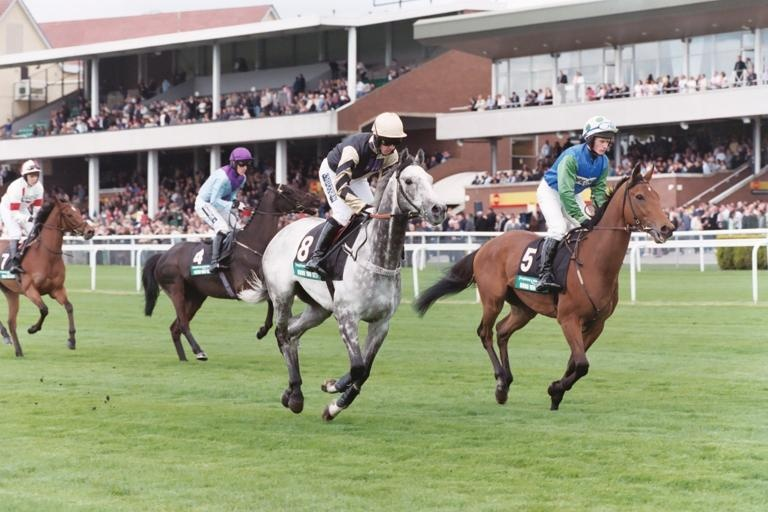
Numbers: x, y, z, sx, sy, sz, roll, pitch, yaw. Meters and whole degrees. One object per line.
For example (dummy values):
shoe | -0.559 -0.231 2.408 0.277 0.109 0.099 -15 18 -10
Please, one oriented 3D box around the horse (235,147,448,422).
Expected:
horse | -0.451 0.322 16.295 2.192 3.105 0.925 1 3 39

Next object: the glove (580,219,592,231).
glove | 2.423 -0.385 16.647 0.093 0.128 0.061 49 14 25

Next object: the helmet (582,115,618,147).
helmet | 2.616 -1.518 16.833 0.385 0.328 0.447 0 7 -44

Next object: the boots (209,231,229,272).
boots | -2.227 -0.076 18.678 0.239 0.526 0.261 -1 2 -5

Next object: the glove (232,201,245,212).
glove | -1.993 -0.693 18.978 0.160 0.138 0.039 24 11 37

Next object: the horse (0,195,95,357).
horse | -4.645 0.224 19.087 1.276 2.022 0.844 -1 2 -11

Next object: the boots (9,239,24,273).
boots | -5.084 -0.012 19.149 0.177 0.445 0.407 -2 2 -15

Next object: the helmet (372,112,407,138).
helmet | 0.063 -1.519 16.133 0.297 0.175 0.355 -3 12 -32

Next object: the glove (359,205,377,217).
glove | -0.180 -0.520 16.264 0.183 0.069 0.127 22 24 16

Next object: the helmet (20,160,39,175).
helmet | -4.952 -1.271 19.410 0.231 0.155 0.320 -7 -6 -25

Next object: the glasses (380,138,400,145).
glasses | 0.063 -1.341 16.176 0.229 0.078 0.184 -1 2 -9

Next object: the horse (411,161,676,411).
horse | 1.954 0.442 17.528 1.141 2.882 4.797 6 -5 -33
